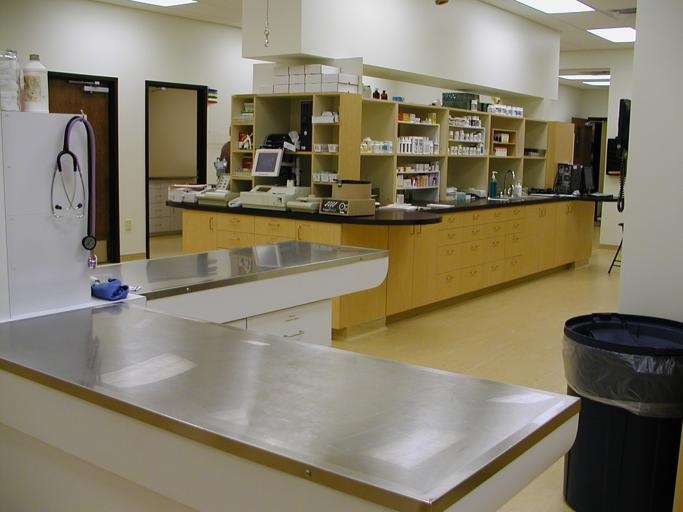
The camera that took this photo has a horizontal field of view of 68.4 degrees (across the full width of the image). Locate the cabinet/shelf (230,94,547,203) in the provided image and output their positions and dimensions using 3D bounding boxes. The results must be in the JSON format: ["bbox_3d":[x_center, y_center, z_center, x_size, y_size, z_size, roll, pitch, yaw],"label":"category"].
[{"bbox_3d":[0.973,-1.413,6.946,4.965,1.272,1.379,-9,14,-40],"label":"cabinet/shelf"}]

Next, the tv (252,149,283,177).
[{"bbox_3d":[-0.820,-1.032,5.579,0.371,0.314,0.279,5,11,20],"label":"tv"}]

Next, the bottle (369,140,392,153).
[{"bbox_3d":[0.481,-1.281,5.913,0.253,0.143,0.286,3,11,13],"label":"bottle"}]

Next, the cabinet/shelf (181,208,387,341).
[{"bbox_3d":[-0.691,0.114,5.352,2.290,1.114,0.726,7,12,29],"label":"cabinet/shelf"}]
